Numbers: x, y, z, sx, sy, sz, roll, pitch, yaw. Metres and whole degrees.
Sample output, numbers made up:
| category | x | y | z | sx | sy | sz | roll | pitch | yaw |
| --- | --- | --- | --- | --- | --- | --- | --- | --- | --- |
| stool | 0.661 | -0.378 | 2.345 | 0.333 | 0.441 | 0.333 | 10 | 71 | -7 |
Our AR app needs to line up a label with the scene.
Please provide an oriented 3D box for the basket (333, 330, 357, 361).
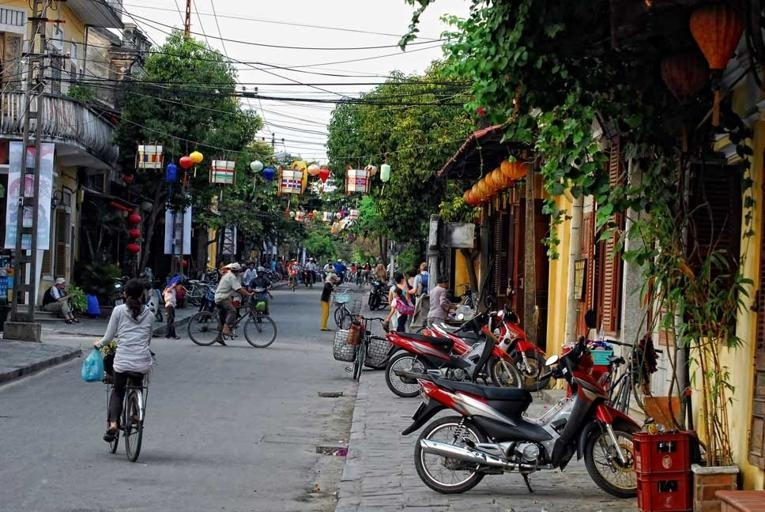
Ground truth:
| category | x | y | z | sx | sy | sz | roll | pitch | yaw |
| --- | --- | --- | --- | --- | --- | --- | --- | --- | --- |
| basket | -0.767 | 1.784 | 19.089 | 0.422 | 0.675 | 0.359 | 5 | 9 | 11 |

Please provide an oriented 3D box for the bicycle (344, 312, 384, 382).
| category | x | y | z | sx | sy | sz | roll | pitch | yaw |
| --- | --- | --- | --- | --- | --- | --- | --- | --- | --- |
| bicycle | -0.266 | 1.889 | 19.635 | 1.424 | 1.503 | 0.608 | -2 | -3 | 10 |

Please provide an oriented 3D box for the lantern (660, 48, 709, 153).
| category | x | y | z | sx | sy | sz | roll | pitch | yaw |
| --- | --- | --- | --- | --- | --- | --- | --- | --- | --- |
| lantern | 3.242 | -1.733 | 9.953 | 0.392 | 1.269 | 0.485 | -2 | 1 | -45 |

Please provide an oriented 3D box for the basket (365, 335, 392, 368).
| category | x | y | z | sx | sy | sz | roll | pitch | yaw |
| --- | --- | --- | --- | --- | --- | --- | --- | --- | --- |
| basket | -0.225 | 1.992 | 19.795 | 0.560 | 0.854 | 0.667 | 3 | 7 | -30 |

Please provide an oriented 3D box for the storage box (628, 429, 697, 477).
| category | x | y | z | sx | sy | sz | roll | pitch | yaw |
| --- | --- | --- | --- | --- | --- | --- | --- | --- | --- |
| storage box | 2.977 | 2.120 | 10.058 | 0.546 | 0.387 | 0.359 | 2 | -6 | -10 |

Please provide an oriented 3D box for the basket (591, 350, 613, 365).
| category | x | y | z | sx | sy | sz | roll | pitch | yaw |
| --- | --- | --- | --- | --- | --- | --- | --- | --- | --- |
| basket | 2.988 | 1.381 | 12.768 | 0.240 | 0.147 | 0.179 | 1 | 0 | -4 |

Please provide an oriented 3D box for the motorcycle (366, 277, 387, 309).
| category | x | y | z | sx | sy | sz | roll | pitch | yaw |
| --- | --- | --- | --- | --- | --- | --- | --- | --- | --- |
| motorcycle | -0.237 | 1.683 | 40.454 | 0.679 | 0.842 | 1.287 | 8 | 10 | 27 |

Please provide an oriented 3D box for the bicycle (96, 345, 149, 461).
| category | x | y | z | sx | sy | sz | roll | pitch | yaw |
| --- | --- | --- | --- | --- | --- | --- | --- | --- | --- |
| bicycle | -3.479 | 1.904 | 12.610 | 0.637 | 1.414 | 1.842 | 4 | -3 | -14 |

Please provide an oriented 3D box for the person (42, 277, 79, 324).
| category | x | y | z | sx | sy | sz | roll | pitch | yaw |
| --- | --- | --- | --- | --- | --- | --- | --- | --- | --- |
| person | -9.823 | 1.329 | 28.619 | 0.956 | 1.353 | 1.652 | 5 | -3 | -23 |

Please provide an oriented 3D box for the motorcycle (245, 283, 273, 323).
| category | x | y | z | sx | sy | sz | roll | pitch | yaw |
| --- | --- | --- | --- | --- | --- | --- | --- | --- | --- |
| motorcycle | -3.808 | 1.425 | 28.735 | 1.024 | 1.541 | 0.833 | 0 | -14 | -14 |

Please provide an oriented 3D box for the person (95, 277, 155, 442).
| category | x | y | z | sx | sy | sz | roll | pitch | yaw |
| --- | --- | --- | --- | --- | --- | --- | --- | --- | --- |
| person | -3.448 | 1.416 | 12.528 | 0.686 | 2.150 | 0.897 | 4 | -23 | -18 |

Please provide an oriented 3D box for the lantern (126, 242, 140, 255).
| category | x | y | z | sx | sy | sz | roll | pitch | yaw |
| --- | --- | --- | --- | --- | --- | --- | --- | --- | --- |
| lantern | -10.306 | -0.356 | 38.830 | 0.445 | 0.465 | 0.474 | 1 | 7 | 6 |

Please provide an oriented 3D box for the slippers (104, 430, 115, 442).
| category | x | y | z | sx | sy | sz | roll | pitch | yaw |
| --- | --- | --- | --- | --- | --- | --- | --- | --- | --- |
| slippers | -3.523 | 2.340 | 12.128 | 0.111 | 0.152 | 0.155 | 7 | 4 | -2 |

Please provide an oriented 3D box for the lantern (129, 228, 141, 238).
| category | x | y | z | sx | sy | sz | roll | pitch | yaw |
| --- | --- | --- | --- | --- | --- | --- | --- | --- | --- |
| lantern | -10.372 | -0.976 | 39.338 | 0.371 | 0.388 | 0.394 | 2 | 7 | 14 |
